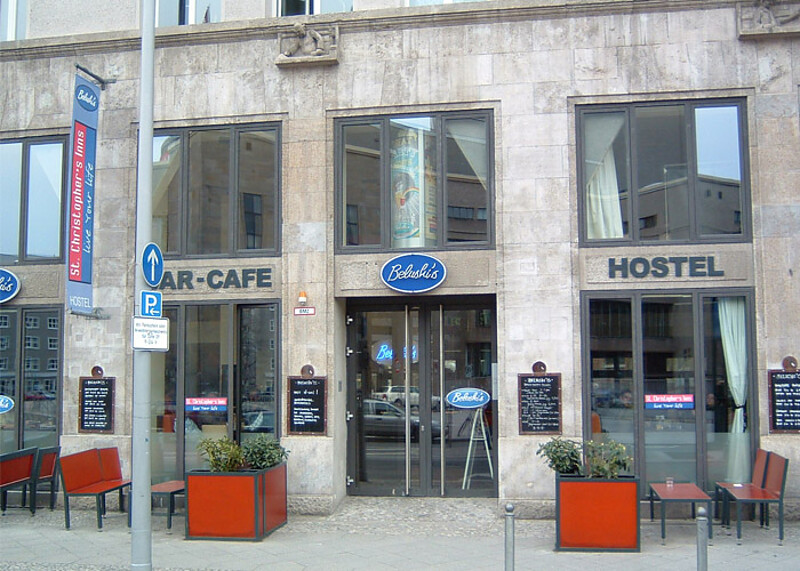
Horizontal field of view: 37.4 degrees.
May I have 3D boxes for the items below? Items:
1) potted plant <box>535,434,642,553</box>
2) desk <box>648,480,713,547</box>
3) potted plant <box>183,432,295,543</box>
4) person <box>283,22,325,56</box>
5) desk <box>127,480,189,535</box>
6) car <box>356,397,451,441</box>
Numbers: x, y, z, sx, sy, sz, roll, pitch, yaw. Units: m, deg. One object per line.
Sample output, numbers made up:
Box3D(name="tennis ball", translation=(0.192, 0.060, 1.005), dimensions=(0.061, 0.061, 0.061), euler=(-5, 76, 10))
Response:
Box3D(name="potted plant", translation=(3.514, 3.780, 21.447), dimensions=(1.632, 1.952, 1.138), euler=(-2, -7, 10))
Box3D(name="desk", translation=(5.182, 4.121, 21.836), dimensions=(1.110, 1.026, 1.773), euler=(-2, -7, 11))
Box3D(name="potted plant", translation=(-3.009, 3.561, 22.579), dimensions=(1.653, 2.190, 2.347), euler=(0, -3, 8))
Box3D(name="person", translation=(-1.918, -4.916, 23.806), dimensions=(0.740, 0.260, 0.726), euler=(-3, -1, 9))
Box3D(name="desk", translation=(-4.609, 4.359, 22.473), dimensions=(0.871, 0.792, 1.687), euler=(0, -4, 6))
Box3D(name="car", translation=(0.101, 2.733, 24.132), dimensions=(1.821, 0.629, 0.757), euler=(-1, -3, 2))
